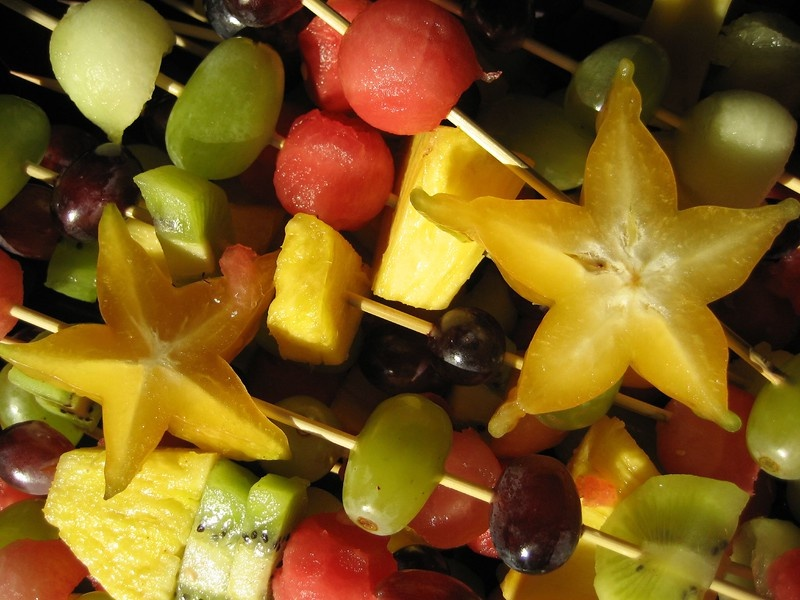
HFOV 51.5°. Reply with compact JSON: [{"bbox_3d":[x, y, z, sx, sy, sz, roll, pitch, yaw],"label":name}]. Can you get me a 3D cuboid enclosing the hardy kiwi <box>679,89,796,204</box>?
[{"bbox_3d":[0.801,-0.385,2.136,0.252,0.280,0.286,-6,42,-3],"label":"hardy kiwi"}]
